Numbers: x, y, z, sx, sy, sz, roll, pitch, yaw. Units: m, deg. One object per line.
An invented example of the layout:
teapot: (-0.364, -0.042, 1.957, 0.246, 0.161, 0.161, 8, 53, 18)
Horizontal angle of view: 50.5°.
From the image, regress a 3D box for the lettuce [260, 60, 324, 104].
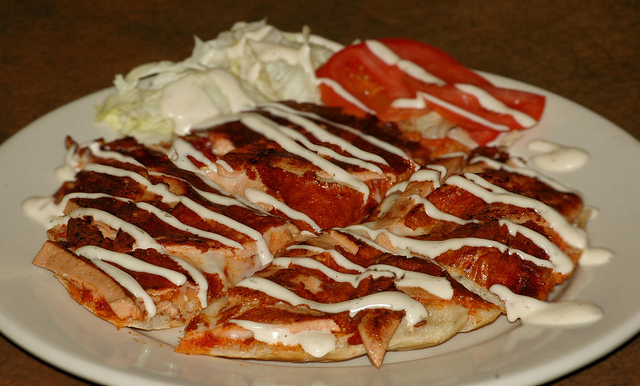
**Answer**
lettuce: (-0.233, -0.975, 6.031, 0.506, 0.152, 0.339, 10, 2, 17)

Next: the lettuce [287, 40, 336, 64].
lettuce: (-0.066, -1.315, 6.277, 0.305, 0.079, 0.243, 15, 7, 2)

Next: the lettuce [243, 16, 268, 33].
lettuce: (-0.573, -1.533, 6.288, 0.215, 0.058, 0.130, -30, 35, 2)
